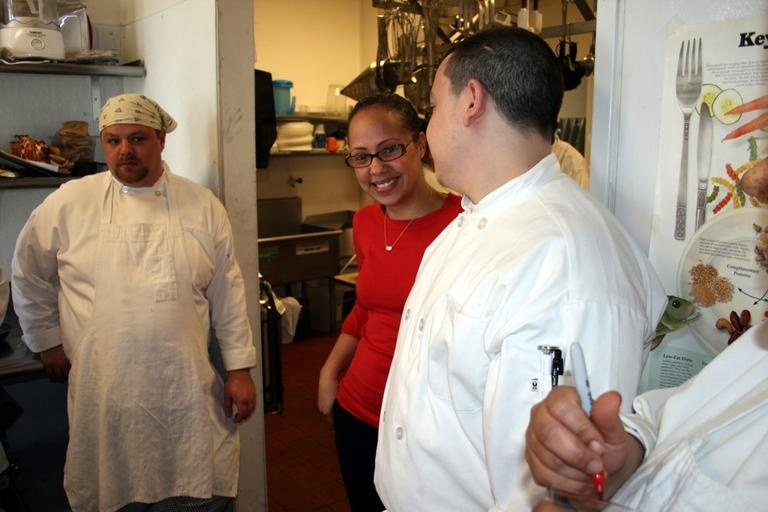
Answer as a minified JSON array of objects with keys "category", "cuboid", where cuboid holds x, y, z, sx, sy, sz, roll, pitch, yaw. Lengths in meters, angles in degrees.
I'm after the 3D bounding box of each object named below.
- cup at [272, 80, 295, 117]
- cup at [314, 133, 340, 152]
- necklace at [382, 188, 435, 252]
[{"category":"cup","cuboid":[-0.948,-1.509,5.691,0.178,0.351,0.426,-3,11,-7]},{"category":"cup","cuboid":[-0.569,-1.120,5.896,0.248,0.192,0.135,-4,8,-39]},{"category":"necklace","cuboid":[0.096,-0.130,2.163,0.164,0.231,0.052,6,5,43]}]
